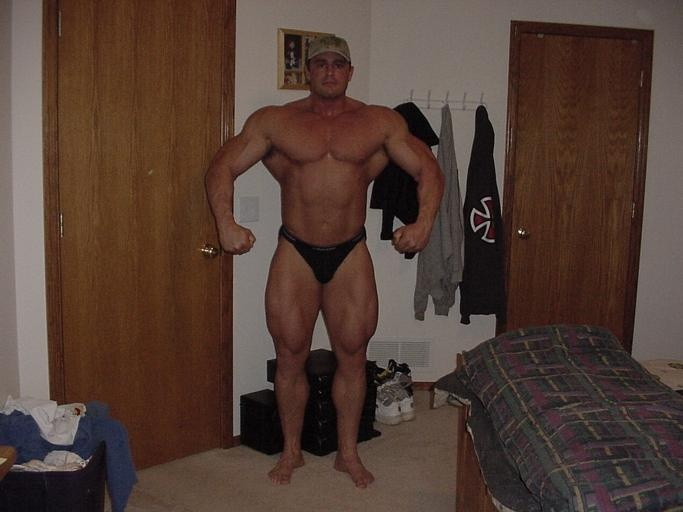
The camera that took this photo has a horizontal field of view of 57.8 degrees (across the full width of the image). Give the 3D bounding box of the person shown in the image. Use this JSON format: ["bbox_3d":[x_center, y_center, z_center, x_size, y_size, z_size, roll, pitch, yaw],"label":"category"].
[{"bbox_3d":[-0.077,0.053,3.061,1.133,2.192,0.529,-2,11,-14],"label":"person"}]

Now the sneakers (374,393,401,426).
[{"bbox_3d":[0.286,0.956,3.821,0.088,0.115,0.237,-2,19,-12],"label":"sneakers"}]

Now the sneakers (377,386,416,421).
[{"bbox_3d":[0.334,0.933,3.823,0.134,0.127,0.252,-1,11,-7],"label":"sneakers"}]

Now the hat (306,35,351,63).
[{"bbox_3d":[-0.059,-0.989,2.967,0.198,0.119,0.095,0,11,-4],"label":"hat"}]
